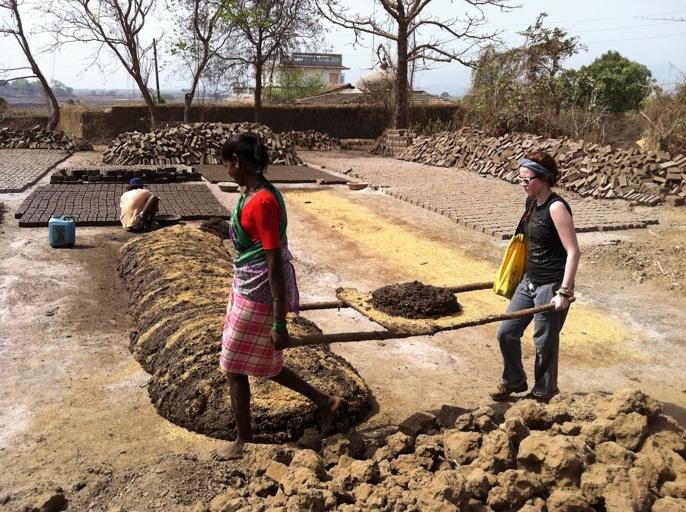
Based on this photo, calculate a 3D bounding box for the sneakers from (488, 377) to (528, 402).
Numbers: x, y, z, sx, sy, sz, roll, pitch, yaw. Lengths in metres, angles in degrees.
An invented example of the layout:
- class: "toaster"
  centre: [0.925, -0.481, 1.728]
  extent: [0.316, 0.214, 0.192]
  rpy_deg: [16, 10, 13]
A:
- class: "sneakers"
  centre: [1.495, 1.189, 4.439]
  extent: [0.410, 0.202, 0.149]
  rpy_deg: [-12, 50, 11]

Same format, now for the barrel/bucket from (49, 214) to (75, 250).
- class: "barrel/bucket"
  centre: [-4.434, -0.403, 8.231]
  extent: [0.505, 0.506, 0.471]
  rpy_deg: [3, 16, -1]

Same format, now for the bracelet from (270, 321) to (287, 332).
- class: "bracelet"
  centre: [-0.420, 0.467, 3.365]
  extent: [0.081, 0.044, 0.090]
  rpy_deg: [1, 6, -1]

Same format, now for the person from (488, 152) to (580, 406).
- class: "person"
  centre: [1.579, 0.239, 4.231]
  extent: [0.659, 2.182, 0.803]
  rpy_deg: [-6, 14, -7]

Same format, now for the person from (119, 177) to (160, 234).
- class: "person"
  centre: [-3.709, -0.989, 9.358]
  extent: [0.675, 0.896, 0.581]
  rpy_deg: [-6, 2, 9]

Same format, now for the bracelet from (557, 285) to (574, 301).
- class: "bracelet"
  centre: [1.706, 0.287, 3.904]
  extent: [0.121, 0.063, 0.107]
  rpy_deg: [3, -1, 24]

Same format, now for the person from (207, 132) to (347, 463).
- class: "person"
  centre: [-0.470, 0.301, 3.678]
  extent: [1.071, 2.290, 0.755]
  rpy_deg: [4, 12, 7]
